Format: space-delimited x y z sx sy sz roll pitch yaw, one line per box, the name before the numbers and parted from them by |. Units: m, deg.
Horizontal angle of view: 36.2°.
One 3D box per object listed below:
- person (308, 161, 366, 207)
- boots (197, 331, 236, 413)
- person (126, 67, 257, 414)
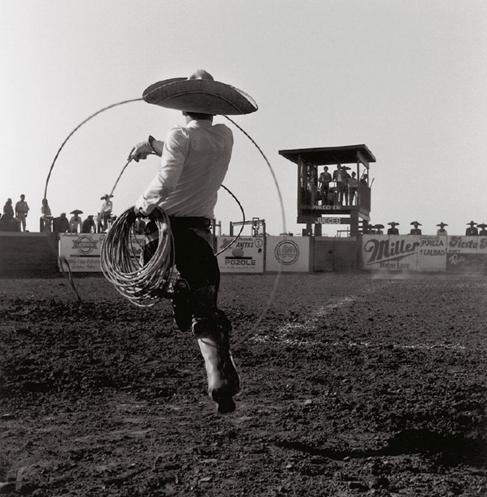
person | 3.224 -2.291 27.024 2.008 1.389 0.857 3 5 31
boots | -0.142 0.799 4.729 0.159 0.556 0.320 -11 -34 10
person | -0.284 0.025 4.935 0.731 1.933 0.578 2 5 31
